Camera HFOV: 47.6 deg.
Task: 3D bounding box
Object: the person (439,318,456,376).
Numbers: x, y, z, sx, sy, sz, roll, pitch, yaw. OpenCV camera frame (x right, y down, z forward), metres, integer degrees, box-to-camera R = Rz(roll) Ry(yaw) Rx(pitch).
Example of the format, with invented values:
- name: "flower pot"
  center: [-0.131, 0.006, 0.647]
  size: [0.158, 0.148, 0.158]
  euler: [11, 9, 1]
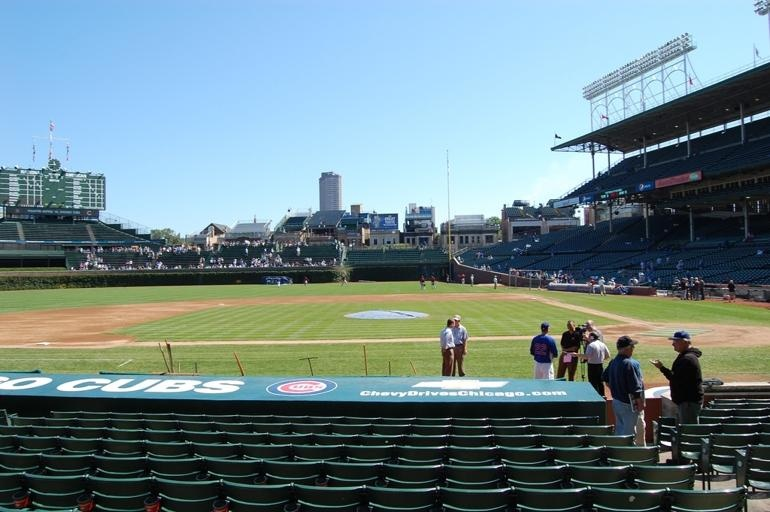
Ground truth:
- name: "person"
  center: [3.386, 4.841, 46.279]
  size: [0.794, 2.884, 0.710]
  euler: [-2, 1, 3]
